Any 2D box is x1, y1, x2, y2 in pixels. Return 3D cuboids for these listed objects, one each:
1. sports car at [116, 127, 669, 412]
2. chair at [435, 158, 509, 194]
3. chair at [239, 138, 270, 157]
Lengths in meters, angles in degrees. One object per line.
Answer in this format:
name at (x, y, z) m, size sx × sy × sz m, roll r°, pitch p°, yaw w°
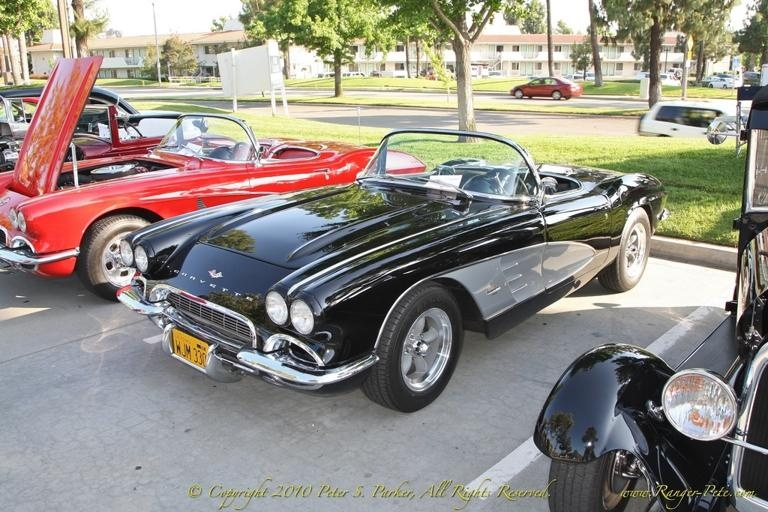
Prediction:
sports car at (0.714, -0.150, 4.635) m, size 5.237 × 1.440 × 2.488 m, roll -9°, pitch 13°, yaw -39°
chair at (0.899, -0.782, 4.266) m, size 0.545 × 0.165 × 0.347 m, roll 8°, pitch 21°, yaw 8°
chair at (-1.876, -1.531, 6.389) m, size 0.367 × 0.225 × 0.471 m, roll 2°, pitch 9°, yaw 21°
